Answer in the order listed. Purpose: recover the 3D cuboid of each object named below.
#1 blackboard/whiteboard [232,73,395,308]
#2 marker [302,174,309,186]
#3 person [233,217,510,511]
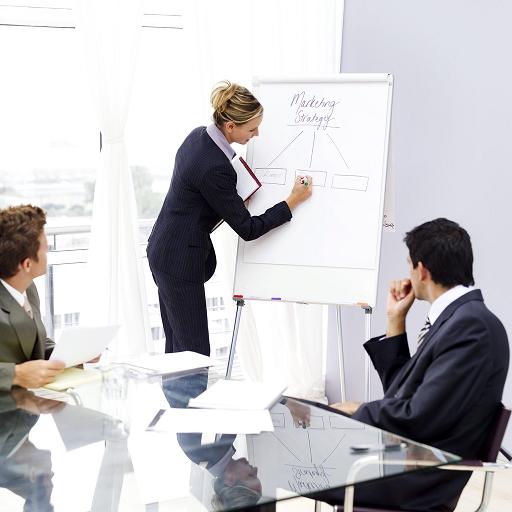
[{"bbox_3d":[0.259,-0.295,2.459,0.589,0.977,0.553,4,10,15],"label":"blackboard/whiteboard"},{"bbox_3d":[0.206,-0.321,2.316,0.025,0.037,0.011,-6,-20,22],"label":"marker"},{"bbox_3d":[0.481,0.350,2.323,0.836,1.678,0.662,2,-3,18],"label":"person"}]
